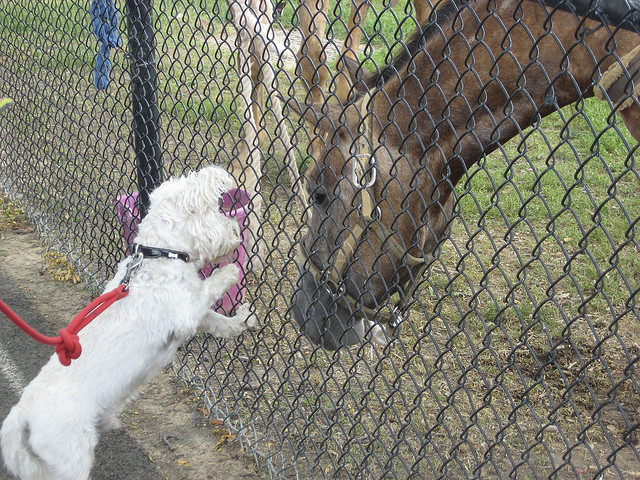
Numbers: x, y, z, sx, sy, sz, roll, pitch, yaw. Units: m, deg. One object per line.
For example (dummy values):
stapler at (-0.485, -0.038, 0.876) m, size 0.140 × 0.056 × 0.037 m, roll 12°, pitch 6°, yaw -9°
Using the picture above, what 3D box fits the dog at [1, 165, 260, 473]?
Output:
dog at (-1.146, 0.477, 4.605) m, size 0.633 × 1.349 × 1.659 m, roll 26°, pitch 42°, yaw 26°
